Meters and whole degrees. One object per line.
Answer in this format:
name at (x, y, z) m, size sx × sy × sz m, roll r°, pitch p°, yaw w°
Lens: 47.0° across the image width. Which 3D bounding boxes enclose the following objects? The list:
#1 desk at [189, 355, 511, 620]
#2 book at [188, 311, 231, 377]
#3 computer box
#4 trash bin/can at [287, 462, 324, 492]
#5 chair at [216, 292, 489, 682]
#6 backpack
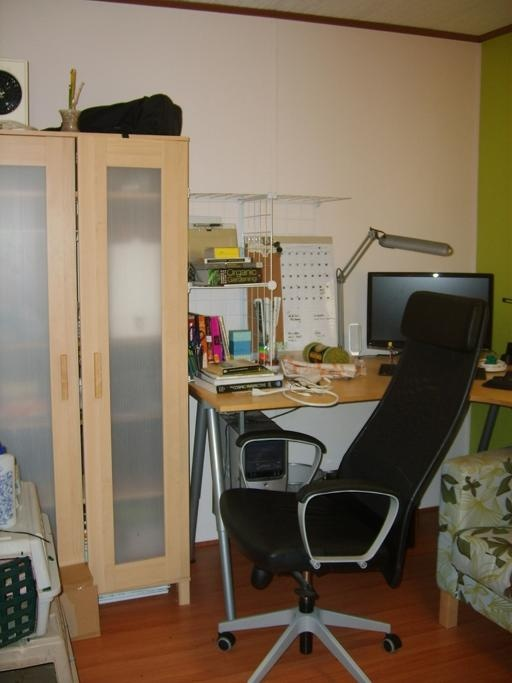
desk at (0.163, 0.660, 2.504) m, size 1.506 × 0.800 × 0.801 m, roll -1°, pitch 5°, yaw -6°
book at (-0.245, -0.014, 2.681) m, size 0.214 × 0.316 × 0.300 m, roll -3°, pitch 2°, yaw -12°
computer box at (0.017, 0.498, 2.469) m, size 0.181 × 0.379 × 0.295 m, roll -4°, pitch 18°, yaw -9°
trash bin/can at (0.209, 0.601, 2.648) m, size 0.157 × 0.083 × 0.205 m, roll 1°, pitch -3°, yaw 3°
chair at (0.318, 0.410, 2.524) m, size 1.082 × 1.922 × 1.020 m, roll 2°, pitch 2°, yaw -16°
backpack at (-0.445, -0.807, 2.132) m, size 0.253 × 0.115 × 0.201 m, roll -3°, pitch 19°, yaw -7°
